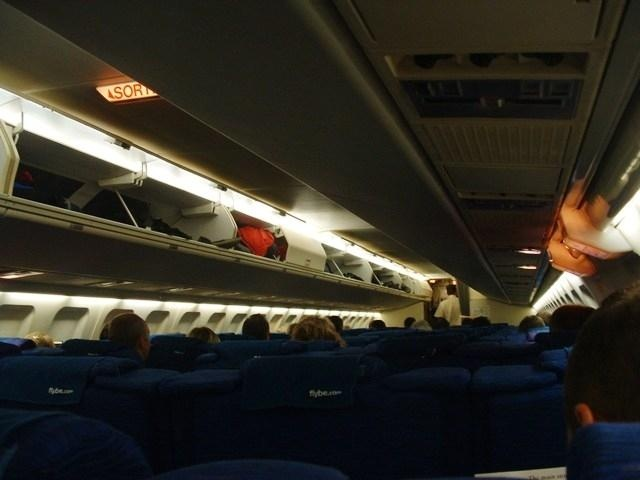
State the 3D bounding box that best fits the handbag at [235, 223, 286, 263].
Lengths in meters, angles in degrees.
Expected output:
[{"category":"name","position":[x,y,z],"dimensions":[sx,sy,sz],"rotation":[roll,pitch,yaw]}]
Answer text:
[{"category":"handbag","position":[-1.224,0.089,9.067],"dimensions":[0.825,0.335,1.084],"rotation":[25,4,42]}]
